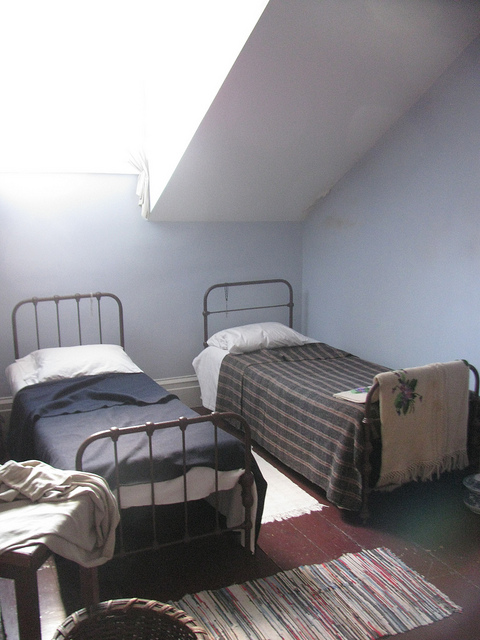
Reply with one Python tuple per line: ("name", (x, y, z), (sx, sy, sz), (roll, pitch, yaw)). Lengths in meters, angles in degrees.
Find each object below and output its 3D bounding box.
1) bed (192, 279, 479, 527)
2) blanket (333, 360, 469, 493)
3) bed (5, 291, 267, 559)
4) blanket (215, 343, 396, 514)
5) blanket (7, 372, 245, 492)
("bed", (0.454, 0.332, 2.888), (0.804, 0.819, 1.350), (-7, 14, -22))
("blanket", (0.857, 0.482, 2.269), (0.585, 0.557, 0.091), (-4, 7, -31))
("bed", (-0.648, 0.418, 2.460), (0.920, 0.916, 1.692), (-6, 19, -24))
("blanket", (0.401, 0.464, 2.746), (0.616, 0.400, 1.030), (-12, 20, -22))
("blanket", (-0.536, 0.470, 2.145), (0.559, 0.265, 0.891), (-8, 18, -27))
